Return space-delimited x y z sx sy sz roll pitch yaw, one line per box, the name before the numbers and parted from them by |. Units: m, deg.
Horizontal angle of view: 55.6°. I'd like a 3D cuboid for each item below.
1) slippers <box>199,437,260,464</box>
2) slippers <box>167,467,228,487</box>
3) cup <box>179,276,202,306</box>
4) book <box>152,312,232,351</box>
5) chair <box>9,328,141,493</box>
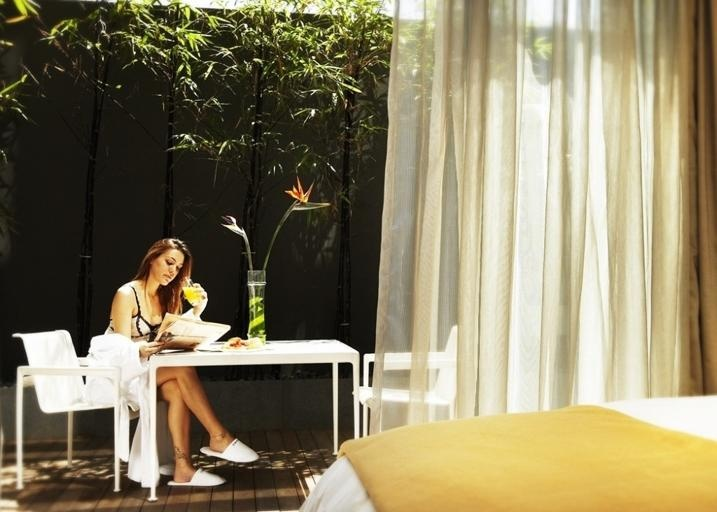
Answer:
slippers | -0.787 1.187 4.161 0.338 0.121 0.188 2 -8 19
slippers | -0.962 1.291 4.027 0.279 0.091 0.128 0 -5 -2
cup | -0.989 0.206 4.095 0.165 0.193 0.166 1 0 0
book | -0.997 0.440 3.988 0.389 0.046 0.400 -11 -26 0
chair | -1.695 0.919 4.175 0.658 0.871 0.785 0 -5 -6
